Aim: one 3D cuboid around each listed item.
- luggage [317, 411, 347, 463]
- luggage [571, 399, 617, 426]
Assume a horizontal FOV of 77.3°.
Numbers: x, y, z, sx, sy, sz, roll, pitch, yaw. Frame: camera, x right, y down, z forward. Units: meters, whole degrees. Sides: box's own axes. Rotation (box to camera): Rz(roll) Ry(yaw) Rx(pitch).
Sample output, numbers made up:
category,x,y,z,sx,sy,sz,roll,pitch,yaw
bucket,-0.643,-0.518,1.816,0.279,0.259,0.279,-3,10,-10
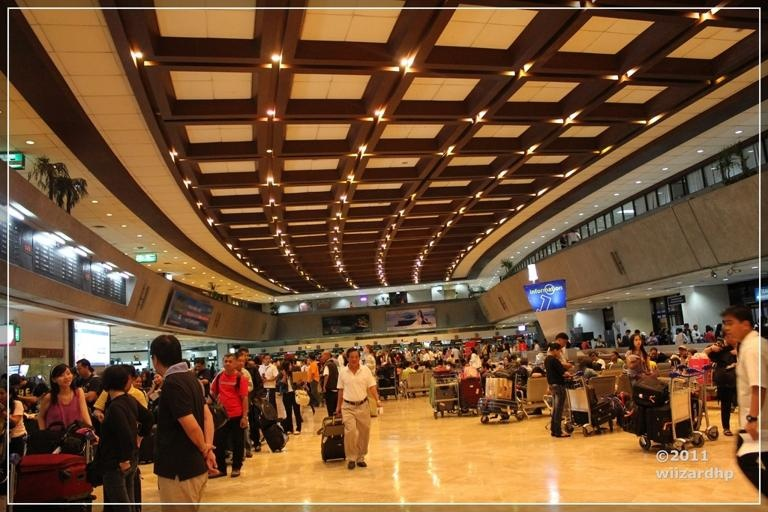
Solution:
category,x,y,z,sx,sy,sz,roll,pitch,yaw
luggage,-1.020,3.769,10.063,0.599,0.835,0.524,3,-11,-14
luggage,4.613,3.461,10.769,0.744,0.423,0.697,-4,-8,-8
